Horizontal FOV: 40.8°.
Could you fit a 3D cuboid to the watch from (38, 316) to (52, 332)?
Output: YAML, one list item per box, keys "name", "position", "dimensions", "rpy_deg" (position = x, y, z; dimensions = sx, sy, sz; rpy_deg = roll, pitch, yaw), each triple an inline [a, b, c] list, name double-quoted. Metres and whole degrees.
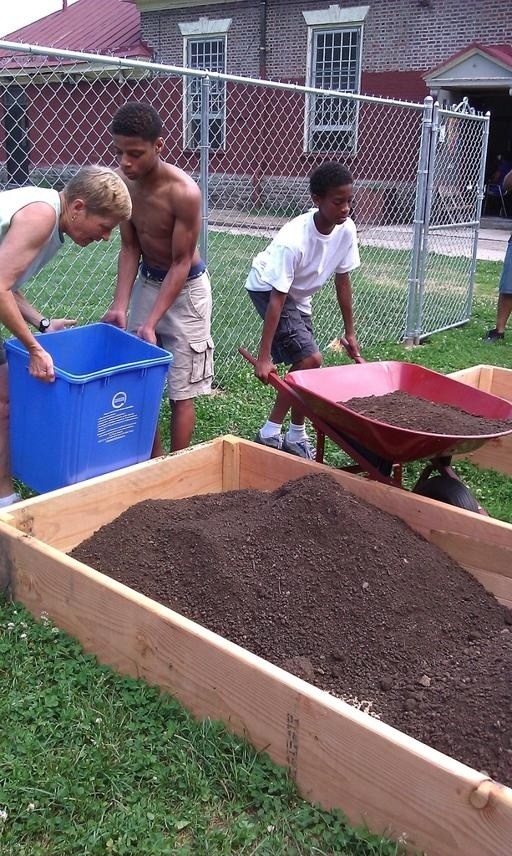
- name: "watch"
  position: [-1.021, -0.499, 3.328]
  dimensions: [0.035, 0.069, 0.052]
  rpy_deg: [13, 15, 9]

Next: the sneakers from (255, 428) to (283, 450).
- name: "sneakers"
  position: [0.062, 0.074, 4.171]
  dimensions: [0.214, 0.086, 0.074]
  rpy_deg: [21, 6, -39]

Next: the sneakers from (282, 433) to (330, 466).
- name: "sneakers"
  position: [0.283, 0.121, 4.111]
  dimensions: [0.303, 0.121, 0.104]
  rpy_deg: [18, 25, -27]
